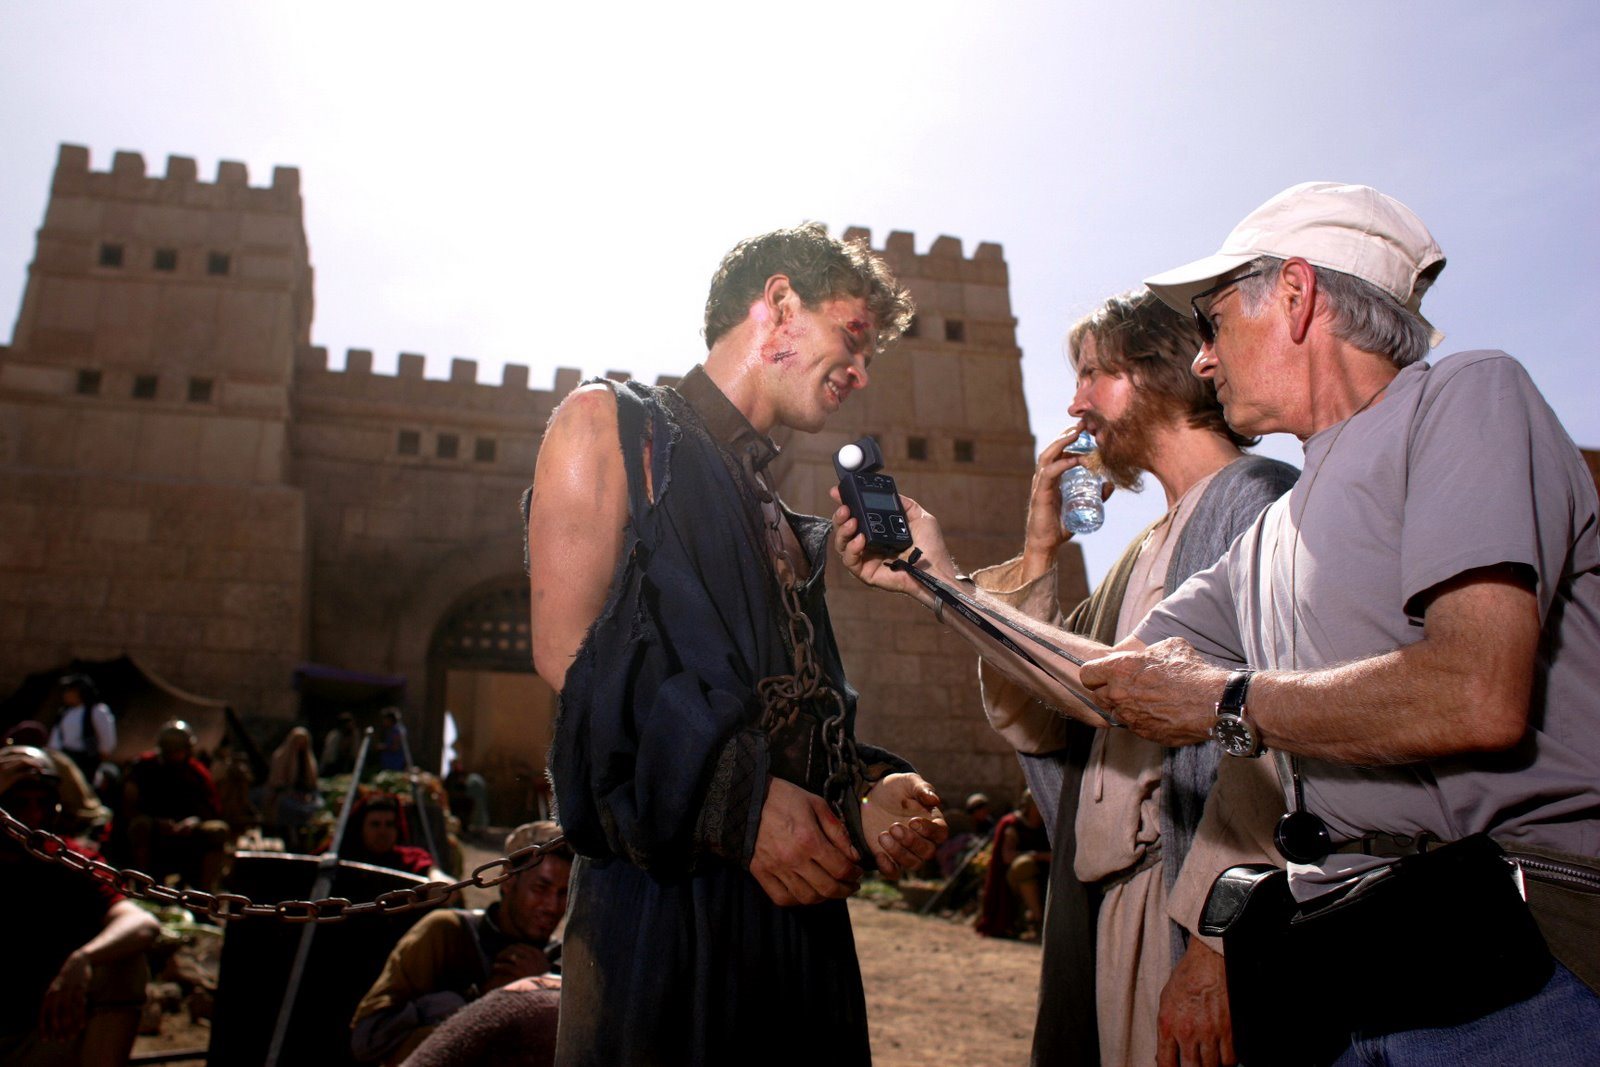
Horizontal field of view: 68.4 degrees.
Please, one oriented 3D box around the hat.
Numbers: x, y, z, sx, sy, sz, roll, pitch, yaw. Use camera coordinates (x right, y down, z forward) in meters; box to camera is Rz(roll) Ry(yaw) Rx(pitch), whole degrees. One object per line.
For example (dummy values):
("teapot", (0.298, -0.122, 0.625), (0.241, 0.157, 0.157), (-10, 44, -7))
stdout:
("hat", (1.245, -0.699, 2.903), (0.612, 0.335, 0.445), (7, 17, 29))
